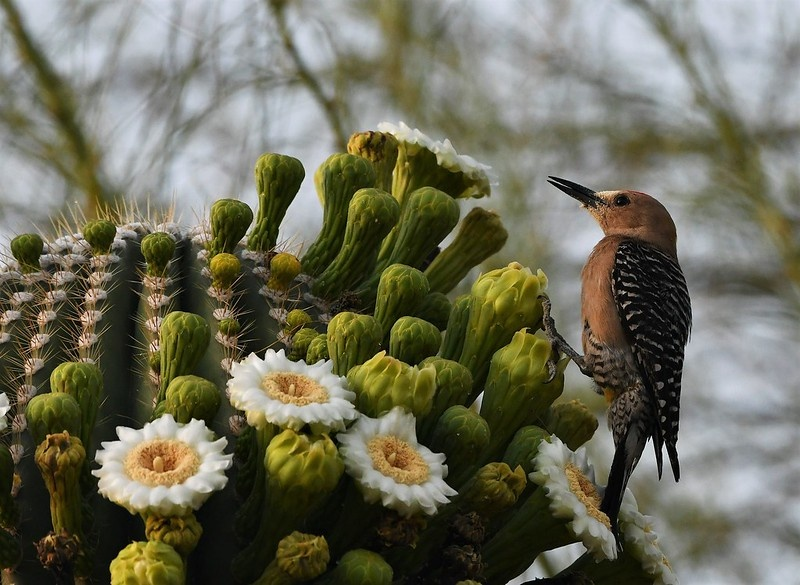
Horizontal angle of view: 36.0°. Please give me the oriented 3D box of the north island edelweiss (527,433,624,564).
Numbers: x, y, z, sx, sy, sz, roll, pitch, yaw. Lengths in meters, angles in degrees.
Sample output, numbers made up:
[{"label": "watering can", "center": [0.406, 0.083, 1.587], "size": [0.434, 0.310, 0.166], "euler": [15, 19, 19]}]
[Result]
[{"label": "north island edelweiss", "center": [0.579, 0.716, 4.173], "size": [0.422, 0.184, 0.451], "euler": [50, 23, -20]}]

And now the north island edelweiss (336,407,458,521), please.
[{"label": "north island edelweiss", "center": [-0.011, 0.542, 3.984], "size": [0.399, 0.290, 0.142], "euler": [14, 4, -1]}]
